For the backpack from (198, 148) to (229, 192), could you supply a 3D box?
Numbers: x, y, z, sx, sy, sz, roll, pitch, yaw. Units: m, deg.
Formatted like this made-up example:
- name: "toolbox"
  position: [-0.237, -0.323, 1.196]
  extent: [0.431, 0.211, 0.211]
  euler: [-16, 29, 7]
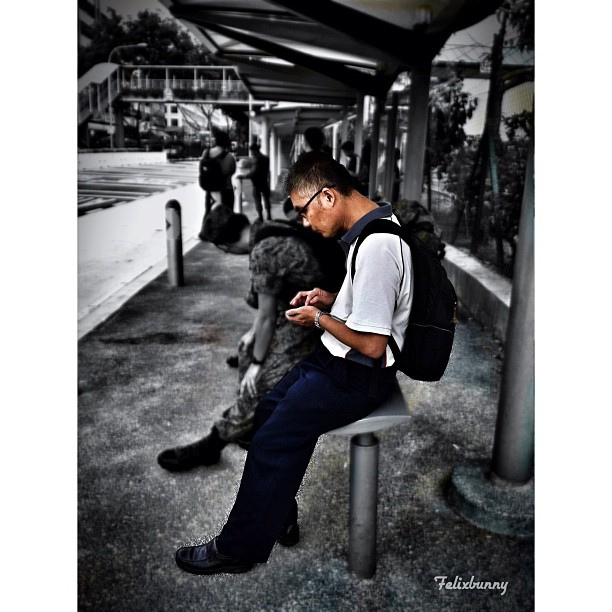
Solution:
- name: "backpack"
  position: [-1.137, -1.684, 6.597]
  extent: [0.283, 0.525, 0.511]
  euler: [-2, 17, -11]

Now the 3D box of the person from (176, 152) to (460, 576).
- name: "person"
  position: [0.027, 0.256, 2.151]
  extent: [1.097, 1.652, 0.648]
  euler: [-2, 9, -6]

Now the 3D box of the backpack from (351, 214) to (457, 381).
- name: "backpack"
  position: [0.425, -0.025, 2.131]
  extent: [0.353, 0.650, 0.405]
  euler: [-5, 7, 21]
